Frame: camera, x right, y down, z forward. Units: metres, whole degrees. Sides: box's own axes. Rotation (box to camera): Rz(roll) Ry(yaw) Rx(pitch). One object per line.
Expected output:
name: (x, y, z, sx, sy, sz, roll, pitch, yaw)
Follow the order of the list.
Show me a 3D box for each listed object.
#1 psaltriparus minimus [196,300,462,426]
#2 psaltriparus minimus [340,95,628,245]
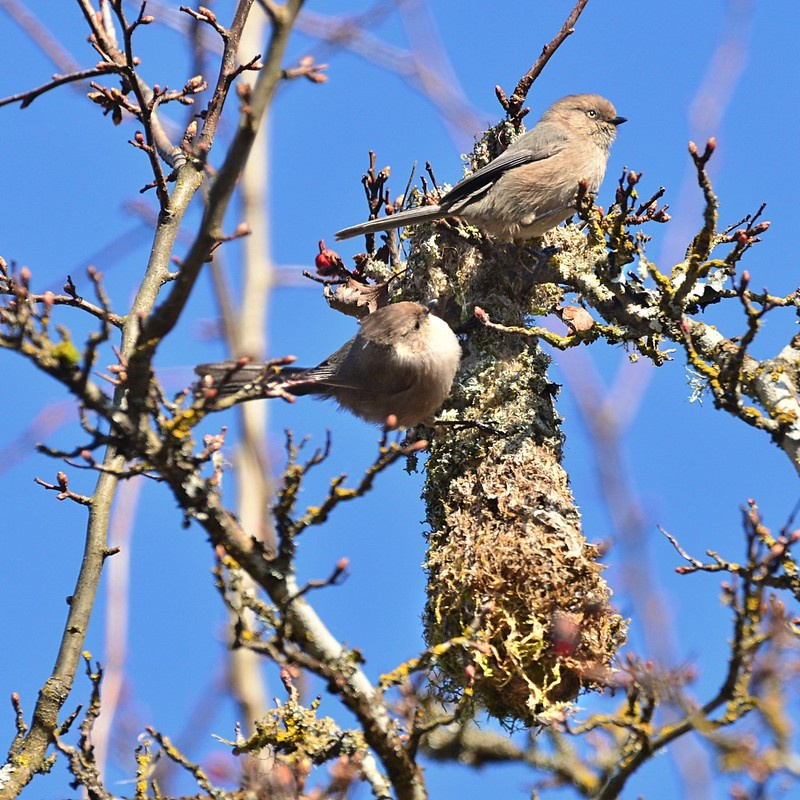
psaltriparus minimus: (-0.363, -0.095, 7.352, 1.314, 0.767, 0.575, 6, 41, -3)
psaltriparus minimus: (0.415, -1.192, 7.942, 1.699, 0.777, 0.492, -10, -22, 2)
